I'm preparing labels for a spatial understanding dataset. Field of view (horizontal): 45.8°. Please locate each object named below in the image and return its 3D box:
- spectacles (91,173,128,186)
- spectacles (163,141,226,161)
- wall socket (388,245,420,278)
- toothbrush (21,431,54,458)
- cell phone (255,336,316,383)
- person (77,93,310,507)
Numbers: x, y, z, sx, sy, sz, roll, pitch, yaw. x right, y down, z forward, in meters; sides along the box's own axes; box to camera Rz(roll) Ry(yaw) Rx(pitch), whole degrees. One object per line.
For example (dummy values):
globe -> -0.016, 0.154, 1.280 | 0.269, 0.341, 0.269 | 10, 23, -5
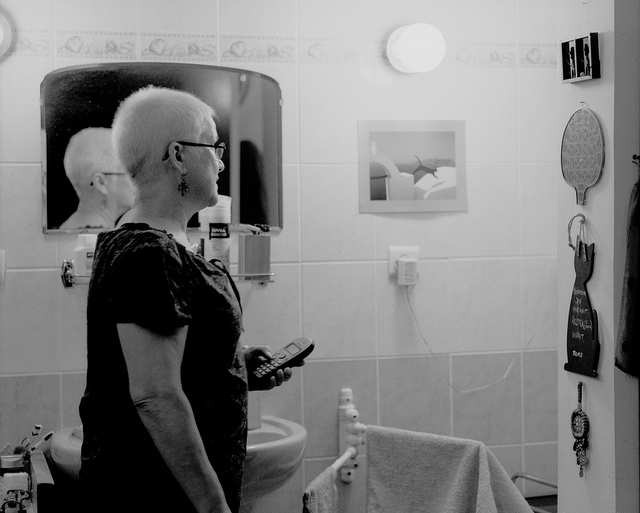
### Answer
spectacles -> -0.659, -0.241, 2.350 | 0.099, 0.038, 0.010 | -1, 3, -2
spectacles -> -0.244, -0.213, 1.533 | 0.037, 0.039, 0.159 | 3, 6, 40
wall socket -> 0.281, 0.017, 2.589 | 0.091, 0.095, 0.032 | 2, -2, -12
toothbrush -> -0.810, 0.535, 2.197 | 0.124, 0.029, 0.033 | -43, -12, -38
cell phone -> -0.075, 0.235, 1.794 | 0.056, 0.047, 0.192 | 20, 46, 29
person -> -0.366, -0.006, 2.148 | 0.593, 1.642, 0.683 | -2, 5, -19
